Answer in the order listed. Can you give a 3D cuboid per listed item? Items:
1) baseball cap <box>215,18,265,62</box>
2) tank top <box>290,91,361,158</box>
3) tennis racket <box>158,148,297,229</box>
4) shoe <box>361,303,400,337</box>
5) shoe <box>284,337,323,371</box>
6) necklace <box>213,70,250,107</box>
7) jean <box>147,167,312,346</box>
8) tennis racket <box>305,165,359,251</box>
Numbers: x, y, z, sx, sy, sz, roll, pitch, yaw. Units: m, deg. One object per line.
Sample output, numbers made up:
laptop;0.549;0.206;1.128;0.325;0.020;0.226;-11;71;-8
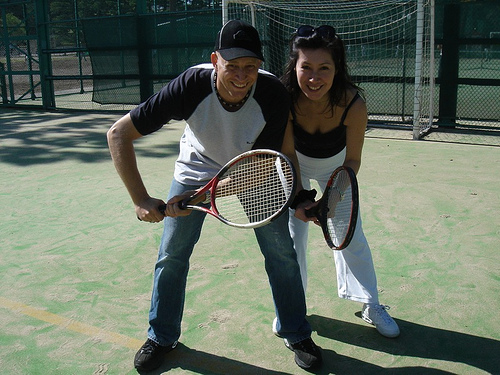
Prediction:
baseball cap;-0.066;-0.871;2.356;0.272;0.258;0.281;-3;13;-4
tank top;0.493;-0.320;3.090;0.674;0.690;0.393;-1;54;8
tennis racket;-0.018;0.009;2.434;0.718;0.504;0.450;6;15;30
shoe;0.953;0.947;2.948;0.151;0.165;0.369;-3;10;-21
shoe;0.362;1.074;2.615;0.115;0.091;0.223;-14;19;-30
necklace;-0.106;-0.557;2.339;0.175;0.227;0.164;6;12;-9
jean;-0.144;0.463;2.598;1.065;1.208;0.310;0;12;6
tennis racket;0.508;0.124;2.411;0.225;0.510;0.489;-5;13;-15
